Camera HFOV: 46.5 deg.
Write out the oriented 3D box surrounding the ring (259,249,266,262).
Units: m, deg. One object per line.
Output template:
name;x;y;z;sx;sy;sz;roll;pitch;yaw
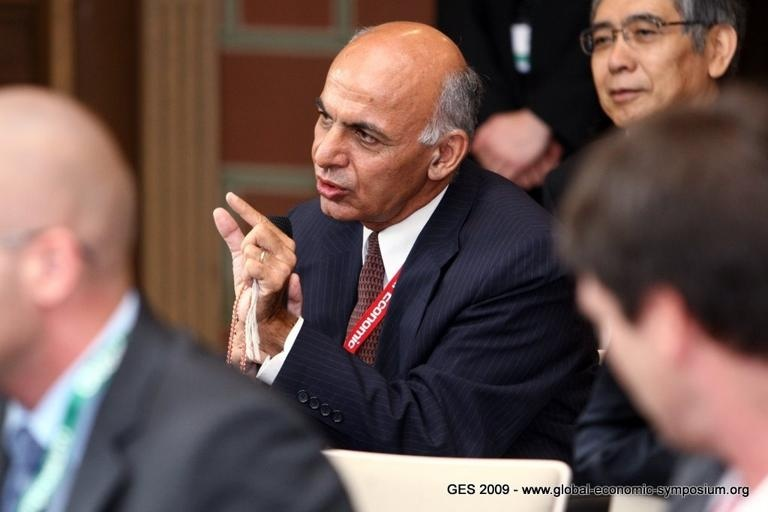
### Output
ring;-0.267;0.000;1.943;0.005;0.020;0.020;11;23;10
